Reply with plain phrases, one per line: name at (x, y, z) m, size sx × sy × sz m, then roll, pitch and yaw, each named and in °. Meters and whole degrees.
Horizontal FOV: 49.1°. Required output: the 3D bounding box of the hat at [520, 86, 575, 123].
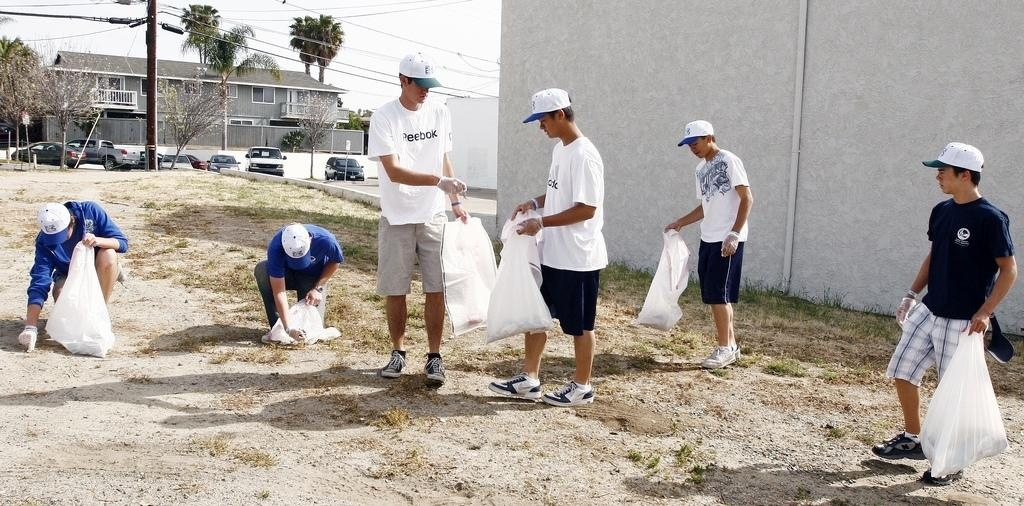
hat at (0.655, -2.593, 20.063) m, size 0.973 × 0.468 × 0.603 m, roll -19°, pitch 16°, yaw -4°

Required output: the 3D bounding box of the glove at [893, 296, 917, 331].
glove at (6.870, 1.009, 19.614) m, size 0.232 × 0.593 × 0.448 m, roll 41°, pitch 0°, yaw 20°

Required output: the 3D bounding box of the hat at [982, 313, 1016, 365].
hat at (8.476, 1.485, 19.478) m, size 0.424 × 0.915 × 0.826 m, roll 10°, pitch 10°, yaw 23°

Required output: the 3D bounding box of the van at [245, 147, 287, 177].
van at (-10.513, -3.908, 47.889) m, size 1.317 × 0.815 × 2.075 m, roll -1°, pitch 3°, yaw -22°

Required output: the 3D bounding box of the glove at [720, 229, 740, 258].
glove at (4.057, -0.171, 20.833) m, size 0.312 × 0.472 × 0.160 m, roll 19°, pitch -25°, yaw 16°

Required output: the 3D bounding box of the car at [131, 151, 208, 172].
car at (-13.976, -3.655, 45.605) m, size 2.768 × 0.828 × 1.208 m, roll -1°, pitch 7°, yaw -8°

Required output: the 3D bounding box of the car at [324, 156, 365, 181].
car at (-7.534, -3.728, 50.294) m, size 1.017 × 1.042 × 2.021 m, roll -4°, pitch 13°, yaw -45°

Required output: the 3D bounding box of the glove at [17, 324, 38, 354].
glove at (-8.983, 1.572, 20.825) m, size 0.246 × 0.552 × 0.278 m, roll 9°, pitch -3°, yaw -15°

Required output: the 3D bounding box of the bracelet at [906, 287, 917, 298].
bracelet at (6.975, 0.711, 19.619) m, size 0.175 × 0.108 × 0.214 m, roll 20°, pitch 34°, yaw -2°

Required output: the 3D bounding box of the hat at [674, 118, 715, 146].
hat at (3.480, -2.287, 21.283) m, size 0.959 × 0.459 × 0.595 m, roll -13°, pitch 6°, yaw -2°

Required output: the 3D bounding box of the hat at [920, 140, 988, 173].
hat at (7.617, -1.648, 19.362) m, size 0.970 × 0.433 × 0.584 m, roll 11°, pitch 11°, yaw 22°

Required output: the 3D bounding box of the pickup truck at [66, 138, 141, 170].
pickup truck at (-16.858, -4.018, 45.898) m, size 3.201 × 0.975 × 1.385 m, roll 10°, pitch 10°, yaw 15°

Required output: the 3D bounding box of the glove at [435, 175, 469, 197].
glove at (-1.018, -1.205, 20.420) m, size 0.740 × 0.374 × 0.341 m, roll 4°, pitch 3°, yaw 11°
